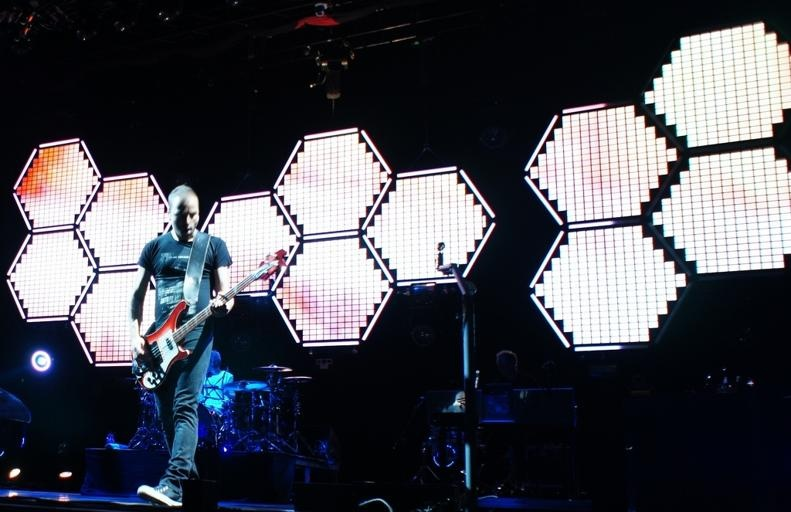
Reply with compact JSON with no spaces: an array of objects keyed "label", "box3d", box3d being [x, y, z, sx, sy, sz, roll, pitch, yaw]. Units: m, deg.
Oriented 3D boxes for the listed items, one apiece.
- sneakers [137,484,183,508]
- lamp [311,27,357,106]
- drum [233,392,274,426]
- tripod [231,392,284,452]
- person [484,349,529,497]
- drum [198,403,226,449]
[{"label":"sneakers","box3d":[-2.175,2.214,8.516,0.380,0.167,0.133,30,-48,-17]},{"label":"lamp","box3d":[-0.749,-2.210,10.747,0.528,0.579,0.756,2,-19,4]},{"label":"drum","box3d":[-1.606,1.729,10.455,0.412,0.404,0.414,-8,-13,33]},{"label":"tripod","box3d":[-1.560,1.891,10.326,0.572,0.580,0.607,0,-29,-5]},{"label":"person","box3d":[1.141,1.747,9.958,0.386,1.555,0.503,1,-20,7]},{"label":"drum","box3d":[-1.960,1.811,9.904,0.396,0.373,0.395,1,-14,-3]}]
